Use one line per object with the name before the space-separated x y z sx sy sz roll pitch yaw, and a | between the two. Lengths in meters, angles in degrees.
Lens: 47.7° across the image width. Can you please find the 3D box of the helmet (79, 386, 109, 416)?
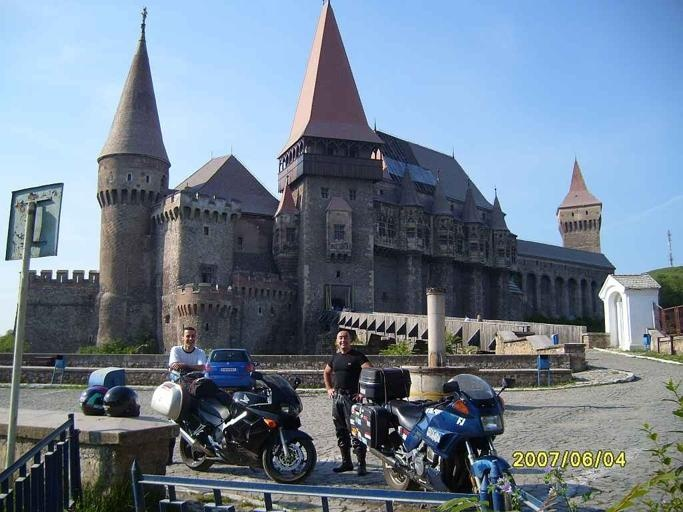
helmet | -3.167 1.843 9.877 0.297 0.334 0.378 0 -2 -13

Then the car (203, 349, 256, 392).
car | -2.794 2.819 19.390 1.488 1.152 2.599 1 -1 -5

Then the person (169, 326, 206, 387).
person | -2.244 1.467 11.290 0.471 0.894 0.497 8 -13 -16

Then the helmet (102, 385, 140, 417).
helmet | -2.730 1.807 9.681 0.302 0.355 0.420 2 -2 13
